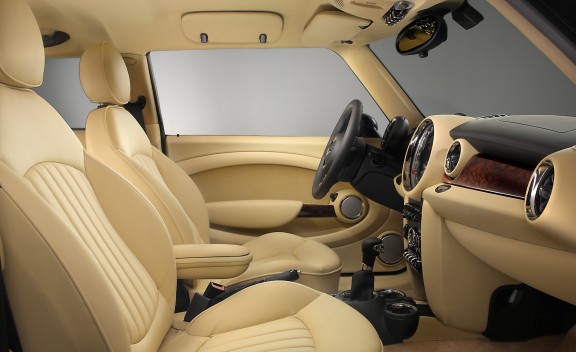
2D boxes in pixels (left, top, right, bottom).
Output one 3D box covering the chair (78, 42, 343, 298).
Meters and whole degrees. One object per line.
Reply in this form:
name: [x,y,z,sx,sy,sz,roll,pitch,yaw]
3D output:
chair: [-0.462,-0.054,2.571,1.654,1.902,1.018,-3,5,-3]
